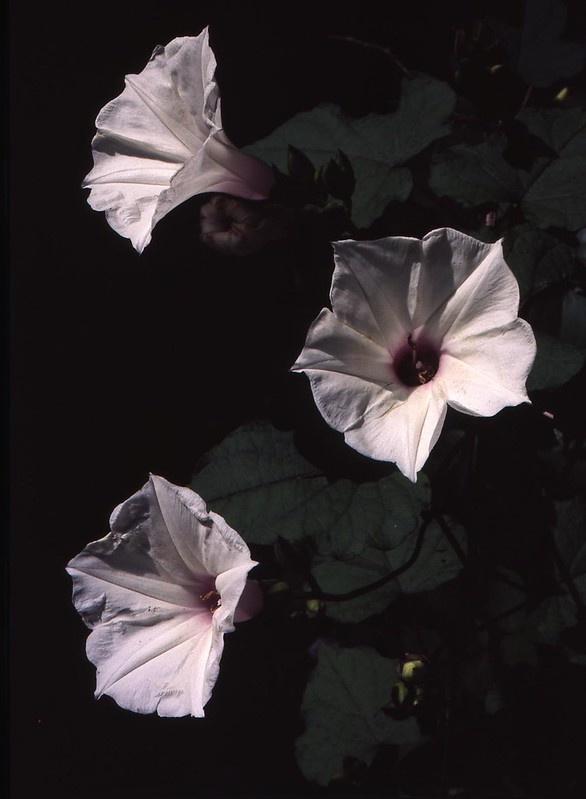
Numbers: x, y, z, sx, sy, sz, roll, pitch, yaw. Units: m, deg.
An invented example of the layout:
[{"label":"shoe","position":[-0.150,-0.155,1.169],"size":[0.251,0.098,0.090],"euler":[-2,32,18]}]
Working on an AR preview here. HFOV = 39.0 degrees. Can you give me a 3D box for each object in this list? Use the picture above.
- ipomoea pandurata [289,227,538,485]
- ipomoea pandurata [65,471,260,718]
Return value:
[{"label":"ipomoea pandurata","position":[0.149,-0.063,1.038],"size":[0.267,0.213,0.266],"euler":[-15,46,-16]},{"label":"ipomoea pandurata","position":[-0.207,0.283,1.195],"size":[0.298,0.252,0.247],"euler":[20,47,19]}]
